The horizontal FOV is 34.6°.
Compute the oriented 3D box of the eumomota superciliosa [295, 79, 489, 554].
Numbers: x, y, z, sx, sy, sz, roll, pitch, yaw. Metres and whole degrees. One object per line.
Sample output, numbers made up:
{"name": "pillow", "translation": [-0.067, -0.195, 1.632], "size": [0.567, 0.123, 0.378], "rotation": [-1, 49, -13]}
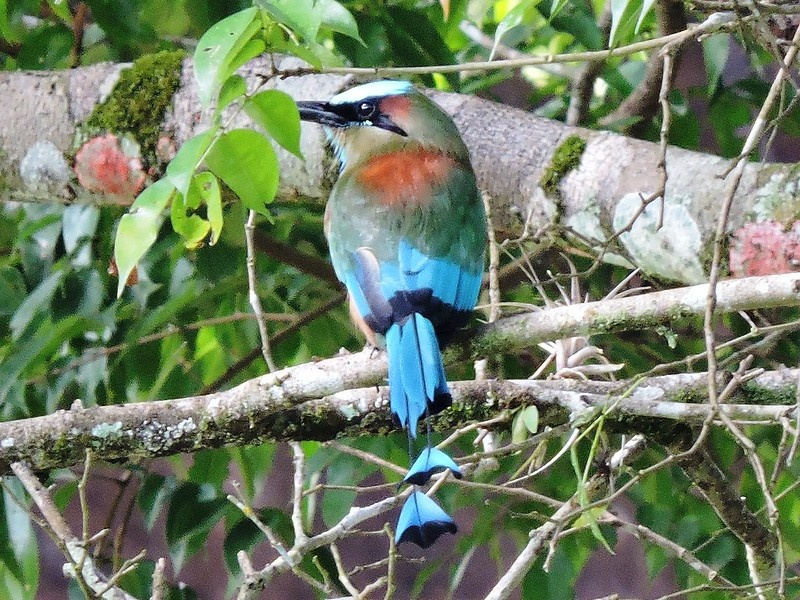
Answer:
{"name": "eumomota superciliosa", "translation": [-0.046, -0.003, 3.646], "size": [0.410, 0.598, 1.462], "rotation": [-5, 67, -14]}
